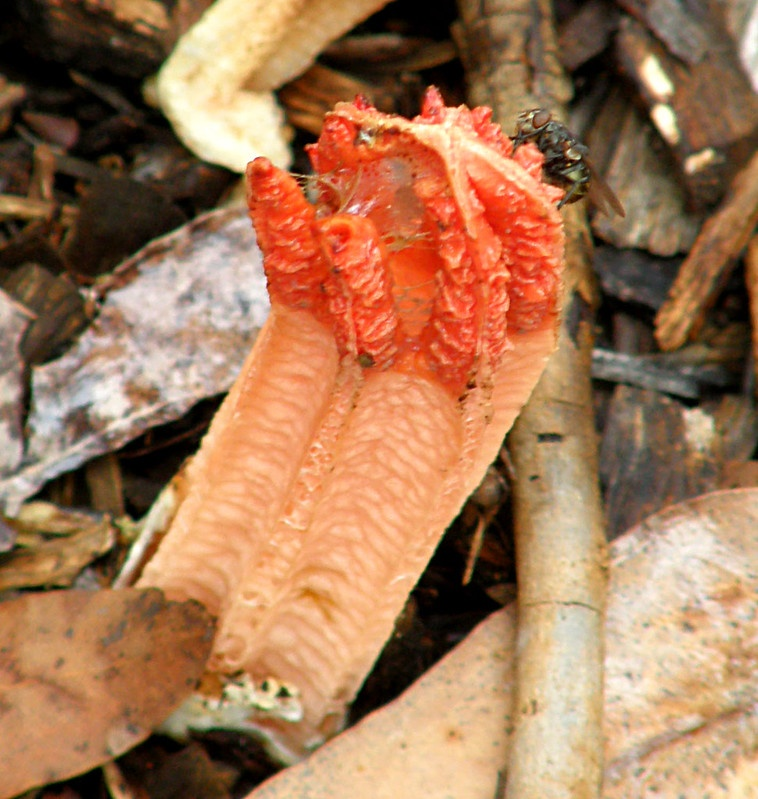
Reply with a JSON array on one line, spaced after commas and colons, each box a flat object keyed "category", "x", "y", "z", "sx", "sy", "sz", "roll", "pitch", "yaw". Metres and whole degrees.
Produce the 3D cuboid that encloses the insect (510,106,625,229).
[{"category": "insect", "x": 0.332, "y": -0.438, "z": 3.337, "sx": 0.095, "sy": 0.273, "sz": 0.188, "roll": -43, "pitch": 30, "yaw": 8}]
